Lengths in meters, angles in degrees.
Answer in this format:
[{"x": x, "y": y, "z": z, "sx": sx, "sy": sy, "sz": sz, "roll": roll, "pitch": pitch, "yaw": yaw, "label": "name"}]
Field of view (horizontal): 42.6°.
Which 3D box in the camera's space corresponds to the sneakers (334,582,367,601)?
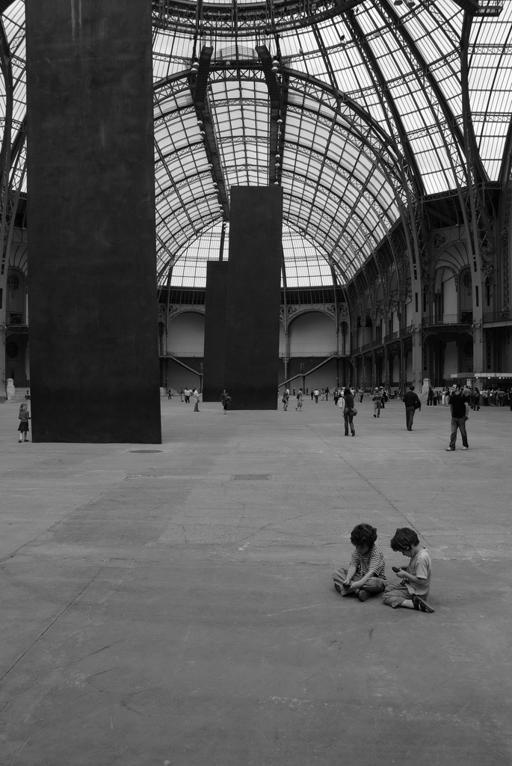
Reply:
[{"x": 0.611, "y": 1.361, "z": 4.286, "sx": 0.223, "sy": 0.105, "sz": 0.119, "roll": 1, "pitch": 0, "yaw": 24, "label": "sneakers"}]
